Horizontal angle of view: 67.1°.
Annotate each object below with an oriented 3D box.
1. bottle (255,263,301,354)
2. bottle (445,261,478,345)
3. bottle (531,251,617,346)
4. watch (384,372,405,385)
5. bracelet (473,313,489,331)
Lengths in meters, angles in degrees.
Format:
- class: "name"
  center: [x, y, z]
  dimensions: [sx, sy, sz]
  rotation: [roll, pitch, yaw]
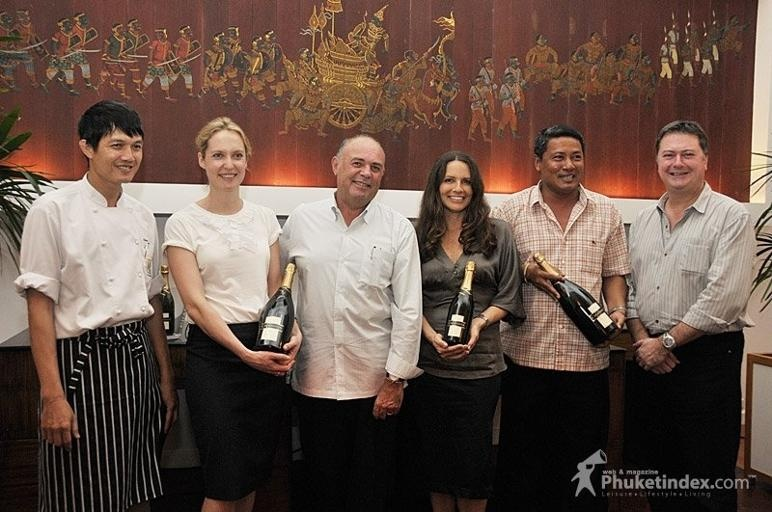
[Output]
- class: "bottle"
  center: [-0.528, 0.259, 2.798]
  dimensions: [0.135, 0.128, 0.466]
  rotation: [-6, 38, 11]
- class: "bottle"
  center: [0.375, 0.235, 2.925]
  dimensions: [0.140, 0.393, 0.206]
  rotation: [0, 9, 15]
- class: "bottle"
  center: [1.051, 0.296, 3.049]
  dimensions: [0.333, 0.390, 0.176]
  rotation: [0, 10, 19]
- class: "watch"
  center: [0.049, 0.604, 2.856]
  dimensions: [0.060, 0.029, 0.067]
  rotation: [20, -3, -35]
- class: "bracelet"
  center: [0.493, 0.326, 2.941]
  dimensions: [0.080, 0.083, 0.053]
  rotation: [-21, 19, 34]
